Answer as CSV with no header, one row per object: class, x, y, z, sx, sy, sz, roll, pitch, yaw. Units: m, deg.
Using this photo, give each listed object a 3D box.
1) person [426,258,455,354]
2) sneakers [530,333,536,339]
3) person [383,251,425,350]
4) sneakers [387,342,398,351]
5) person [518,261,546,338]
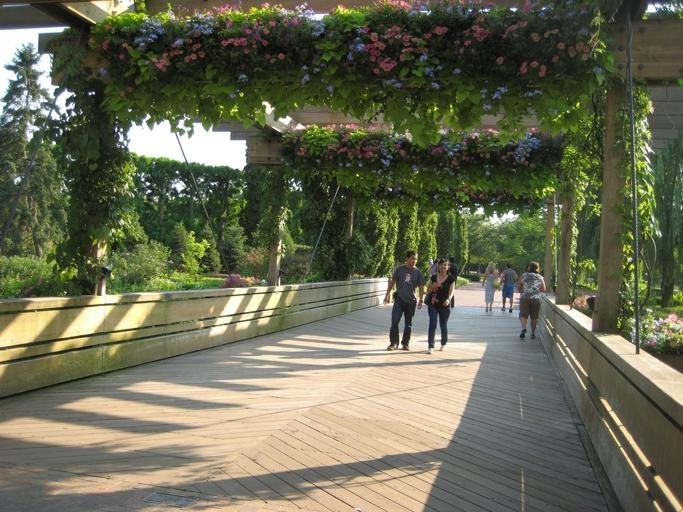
person,1.546,0.786,9.093,0.430,1.444,0.838,2,2,10
sneakers,3.568,1.513,10.676,0.057,0.090,0.192,-2,-13,12
person,1.100,0.732,9.980,0.682,1.672,2.251,2,2,7
sneakers,0.802,1.458,9.049,0.067,0.105,0.212,-3,-12,19
person,3.486,0.817,10.750,0.761,1.426,0.453,0,3,-41
